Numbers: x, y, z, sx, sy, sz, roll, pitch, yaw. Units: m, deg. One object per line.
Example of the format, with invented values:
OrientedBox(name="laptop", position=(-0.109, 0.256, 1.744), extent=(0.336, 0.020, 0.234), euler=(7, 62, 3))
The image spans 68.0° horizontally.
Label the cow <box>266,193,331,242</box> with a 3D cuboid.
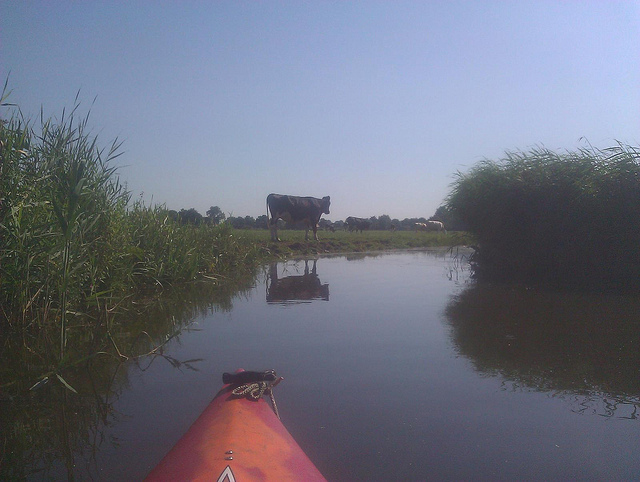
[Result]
OrientedBox(name="cow", position=(-0.963, -1.177, 23.462), extent=(3.408, 2.625, 1.074), euler=(2, -4, -23))
